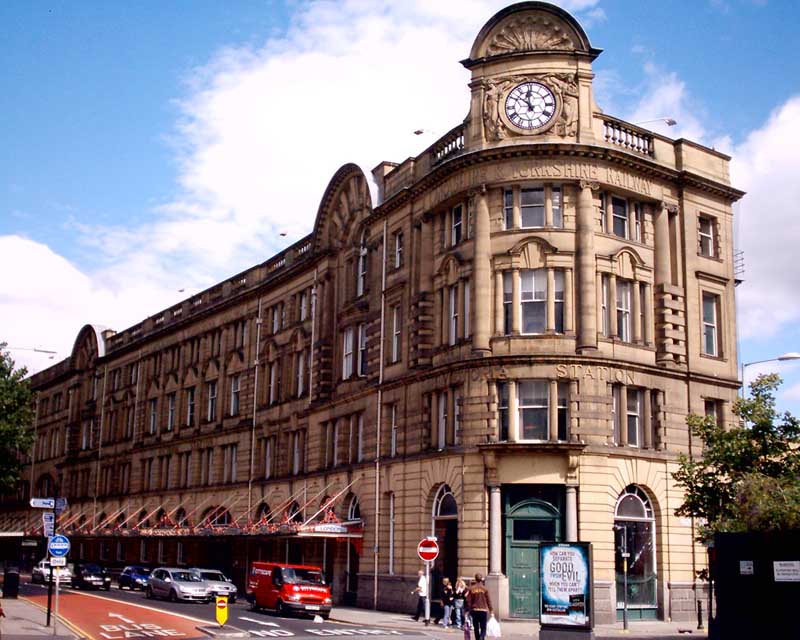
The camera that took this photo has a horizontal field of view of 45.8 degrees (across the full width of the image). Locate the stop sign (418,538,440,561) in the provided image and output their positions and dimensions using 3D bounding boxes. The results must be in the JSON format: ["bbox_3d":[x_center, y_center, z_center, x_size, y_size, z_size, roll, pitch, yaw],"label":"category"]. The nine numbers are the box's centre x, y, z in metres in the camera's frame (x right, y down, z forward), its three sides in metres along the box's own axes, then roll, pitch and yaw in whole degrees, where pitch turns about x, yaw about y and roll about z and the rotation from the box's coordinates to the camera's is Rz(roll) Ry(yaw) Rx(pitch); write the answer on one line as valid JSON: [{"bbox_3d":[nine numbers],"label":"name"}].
[{"bbox_3d":[1.196,9.326,38.222,0.675,0.881,0.698,-7,-2,9],"label":"stop sign"}]

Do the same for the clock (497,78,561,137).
[{"bbox_3d":[6.171,-9.959,44.519,1.998,2.075,0.282,-32,-7,0],"label":"clock"}]

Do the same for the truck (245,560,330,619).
[{"bbox_3d":[-4.947,12.101,42.638,2.000,1.736,3.903,8,-19,-26],"label":"truck"}]

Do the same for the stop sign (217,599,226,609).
[{"bbox_3d":[-5.885,9.559,31.690,0.255,0.270,0.154,-6,-2,-3],"label":"stop sign"}]

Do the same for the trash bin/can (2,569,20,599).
[{"bbox_3d":[-19.707,13.735,48.476,0.775,1.099,1.854,-5,-3,-25],"label":"trash bin/can"}]
